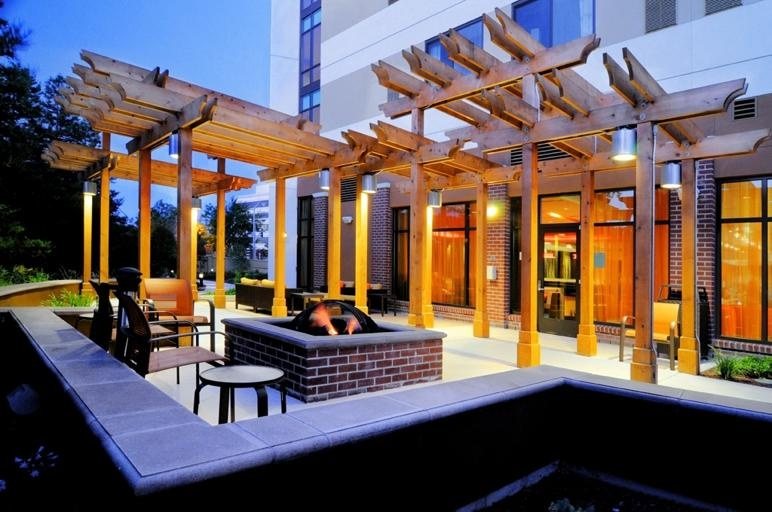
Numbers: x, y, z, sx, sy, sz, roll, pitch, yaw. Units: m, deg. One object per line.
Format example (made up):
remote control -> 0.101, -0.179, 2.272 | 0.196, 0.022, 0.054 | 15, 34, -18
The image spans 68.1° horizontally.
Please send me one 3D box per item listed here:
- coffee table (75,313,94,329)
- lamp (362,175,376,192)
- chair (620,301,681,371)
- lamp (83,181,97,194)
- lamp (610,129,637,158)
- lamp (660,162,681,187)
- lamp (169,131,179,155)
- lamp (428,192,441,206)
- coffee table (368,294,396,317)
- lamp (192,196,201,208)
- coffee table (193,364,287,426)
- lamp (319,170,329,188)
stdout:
coffee table -> -4.512, 0.974, 8.521 | 0.386, 0.180, 0.284 | 2, -2, -40
lamp -> -0.315, -1.508, 11.831 | 0.330, 0.365, 0.327 | -1, 0, 9
chair -> 4.747, 1.305, 10.238 | 0.906, 1.093, 2.119 | 6, 7, 26
lamp -> -6.994, -1.632, 13.444 | 0.233, 0.314, 0.324 | -7, -8, 38
lamp -> 3.397, -1.643, 8.304 | 0.394, 0.423, 0.389 | 0, 1, 8
lamp -> 4.732, -1.354, 9.548 | 0.374, 0.405, 0.371 | 1, -7, 14
lamp -> -3.666, -1.942, 9.832 | 0.161, 0.440, 0.366 | -1, 7, -26
lamp -> 1.061, -1.240, 12.473 | 0.293, 0.320, 0.328 | -1, -1, 4
coffee table -> -0.071, 1.325, 15.341 | 0.612, 0.567, 0.600 | 0, -7, -9
lamp -> -5.245, -1.496, 15.787 | 0.309, 0.221, 0.312 | -2, -3, 34
coffee table -> -1.627, 1.508, 5.842 | 0.645, 0.413, 0.566 | 12, -21, -36
lamp -> -1.279, -1.636, 11.960 | 0.189, 0.380, 0.308 | 2, 7, -7
